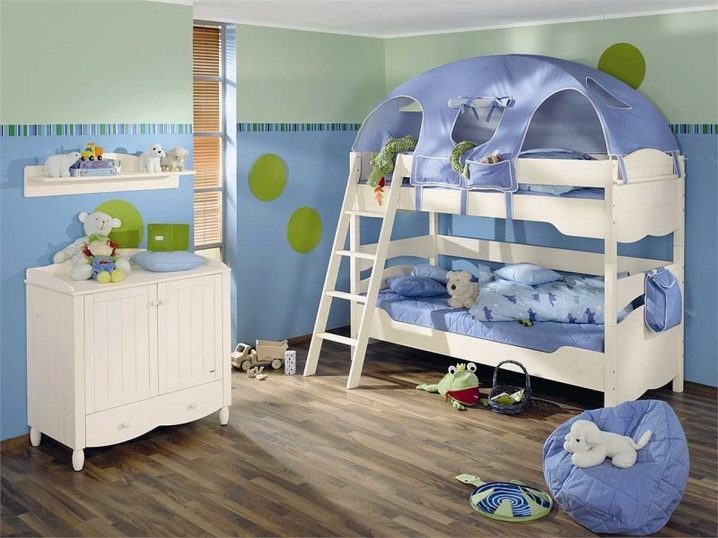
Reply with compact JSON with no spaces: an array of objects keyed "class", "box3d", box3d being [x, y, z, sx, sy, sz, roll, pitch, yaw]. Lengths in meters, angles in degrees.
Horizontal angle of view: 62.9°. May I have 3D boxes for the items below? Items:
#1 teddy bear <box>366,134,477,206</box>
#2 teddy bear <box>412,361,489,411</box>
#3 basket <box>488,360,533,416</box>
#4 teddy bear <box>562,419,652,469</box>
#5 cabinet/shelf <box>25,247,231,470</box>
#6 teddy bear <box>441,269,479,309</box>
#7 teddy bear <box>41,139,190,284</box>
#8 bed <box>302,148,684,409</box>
[{"class":"teddy bear","box3d":[0.523,-0.913,4.964,0.769,0.588,0.243,3,2,24]},{"class":"teddy bear","box3d":[0.754,0.904,4.742,0.426,0.285,0.660,-8,1,-19]},{"class":"basket","box3d":[1.134,0.872,4.414,0.345,0.292,0.315,6,16,43]},{"class":"teddy bear","box3d":[1.354,0.928,3.145,0.411,0.167,0.278,-6,5,26]},{"class":"cabinet/shelf","box3d":[-1.540,0.590,3.785,0.839,1.264,1.478,4,6,44]},{"class":"teddy bear","box3d":[0.921,0.159,5.150,0.302,0.314,0.475,0,12,33]},{"class":"teddy bear","box3d":[-1.699,-0.381,3.996,0.386,0.902,1.069,10,12,41]},{"class":"bed","box3d":[1.231,-0.039,5.226,2.132,1.831,2.995,-8,11,-38]}]
